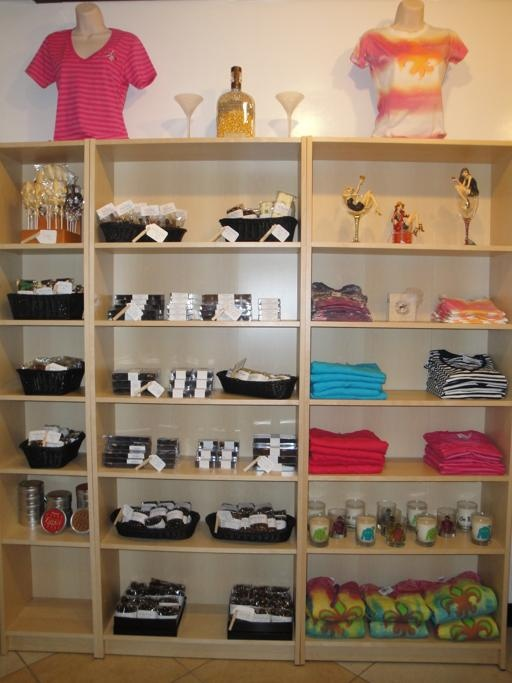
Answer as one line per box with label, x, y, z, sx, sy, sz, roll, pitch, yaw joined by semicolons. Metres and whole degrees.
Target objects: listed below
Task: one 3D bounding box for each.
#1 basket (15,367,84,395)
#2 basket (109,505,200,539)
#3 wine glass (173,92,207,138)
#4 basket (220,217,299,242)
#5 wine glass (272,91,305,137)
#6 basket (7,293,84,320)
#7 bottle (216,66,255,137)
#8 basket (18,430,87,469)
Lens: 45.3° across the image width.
basket;-0.940;0.185;2.803;0.207;0.076;0.155;0;-3;2
basket;-0.466;0.841;2.850;0.292;0.072;0.189;1;-3;-1
wine glass;-0.311;-1.058;2.887;0.124;0.235;0.298;0;3;-5
basket;0.009;-0.499;2.725;0.336;0.112;0.075;1;3;4
wine glass;0.156;-1.042;2.842;0.117;0.240;0.331;1;3;3
basket;-0.963;-0.138;2.766;0.242;0.078;0.159;0;-1;1
bottle;-0.088;-1.066;2.740;0.155;0.321;0.119;0;3;-12
basket;-0.933;0.504;2.863;0.164;0.090;0.225;0;-3;2
